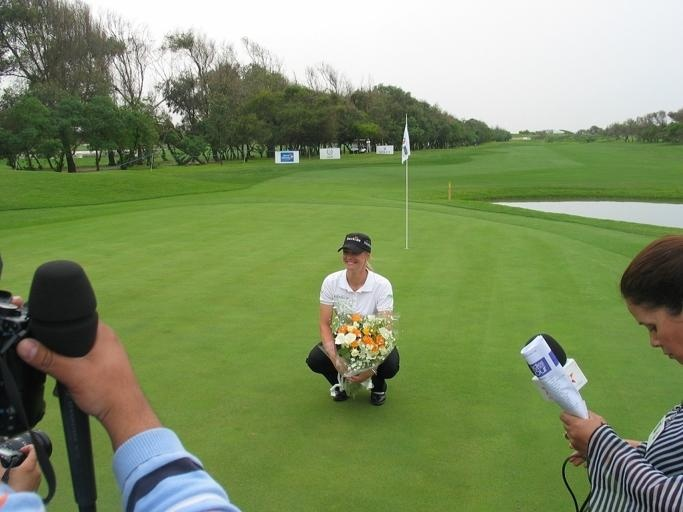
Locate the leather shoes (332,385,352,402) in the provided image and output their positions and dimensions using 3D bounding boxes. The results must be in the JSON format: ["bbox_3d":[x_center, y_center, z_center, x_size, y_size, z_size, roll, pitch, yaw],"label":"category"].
[{"bbox_3d":[0.023,1.315,5.447,0.199,0.213,0.110,0,4,15],"label":"leather shoes"}]

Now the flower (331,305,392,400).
[{"bbox_3d":[0.293,0.898,5.407,0.552,0.753,0.666,-5,-12,5],"label":"flower"}]

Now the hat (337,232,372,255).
[{"bbox_3d":[0.151,-0.132,5.686,0.272,0.219,0.440,0,13,-2],"label":"hat"}]
